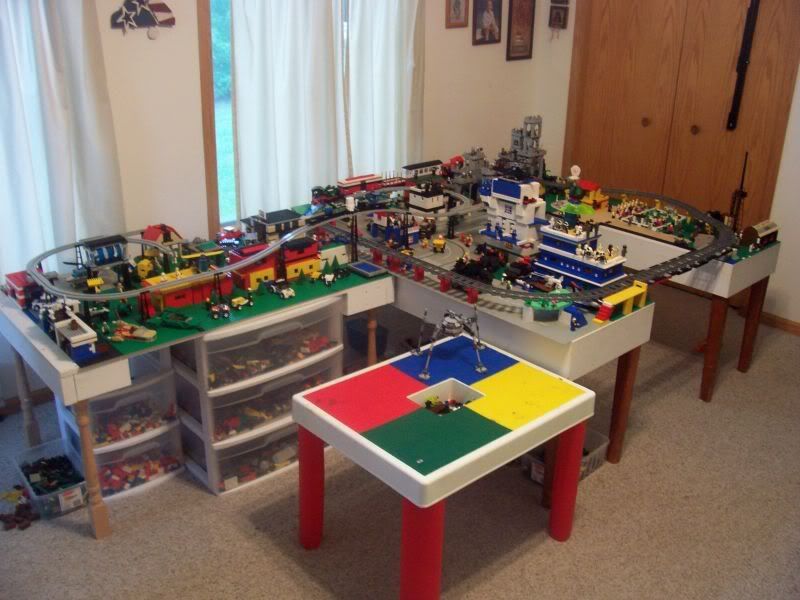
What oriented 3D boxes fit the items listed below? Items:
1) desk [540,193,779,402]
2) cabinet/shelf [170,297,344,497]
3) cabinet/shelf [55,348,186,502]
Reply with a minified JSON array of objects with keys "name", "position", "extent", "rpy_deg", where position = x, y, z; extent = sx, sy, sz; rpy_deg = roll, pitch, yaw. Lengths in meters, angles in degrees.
[{"name":"desk","position":[1.927,-0.020,4.824],"extent":[0.732,1.014,1.361],"rpy_deg":[-25,37,-35]},{"name":"cabinet/shelf","position":[-0.933,0.591,4.082],"extent":[0.951,0.916,0.586],"rpy_deg":[-18,30,-34]},{"name":"cabinet/shelf","position":[-1.737,0.764,4.013],"extent":[0.651,0.932,0.757],"rpy_deg":[-18,26,-39]}]
